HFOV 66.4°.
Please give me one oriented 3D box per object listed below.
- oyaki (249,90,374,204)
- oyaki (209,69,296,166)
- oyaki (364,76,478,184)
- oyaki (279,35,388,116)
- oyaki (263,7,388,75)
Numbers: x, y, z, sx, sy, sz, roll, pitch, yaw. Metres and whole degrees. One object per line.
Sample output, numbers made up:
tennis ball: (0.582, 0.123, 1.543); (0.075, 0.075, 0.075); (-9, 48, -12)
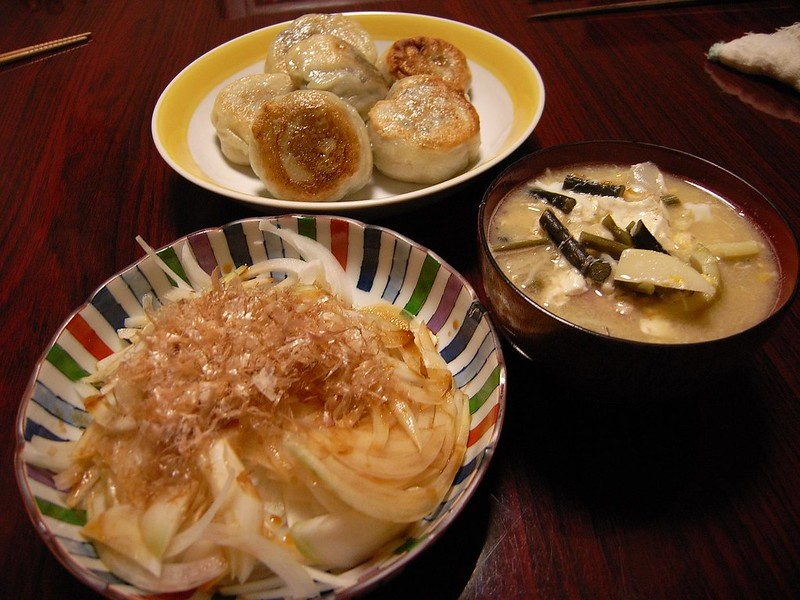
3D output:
oyaki: (-0.340, -0.588, 2.370); (0.434, 0.218, 0.373); (-8, 65, -7)
oyaki: (-0.649, -0.803, 2.691); (0.351, 0.144, 0.380); (17, 80, 3)
oyaki: (0.103, -0.691, 2.513); (0.441, 0.200, 0.411); (32, 67, 11)
oyaki: (-0.260, -0.955, 2.538); (0.350, 0.110, 0.384); (15, 50, -23)
oyaki: (-0.390, -1.202, 2.953); (0.391, 0.105, 0.411); (-31, 86, -4)
